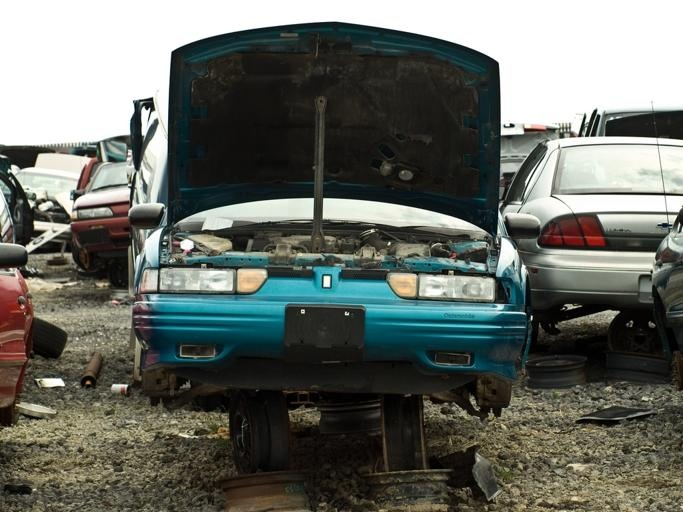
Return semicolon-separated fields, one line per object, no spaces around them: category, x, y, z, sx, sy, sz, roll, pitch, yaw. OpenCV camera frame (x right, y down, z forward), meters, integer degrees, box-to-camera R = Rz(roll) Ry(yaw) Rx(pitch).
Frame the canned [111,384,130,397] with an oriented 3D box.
canned;-1.960;1.209;6.162;0.198;0.105;0.112;1;-21;11

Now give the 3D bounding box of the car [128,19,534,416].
car;-0.059;-0.401;4.841;2.115;1.542;2.914;0;11;-2
